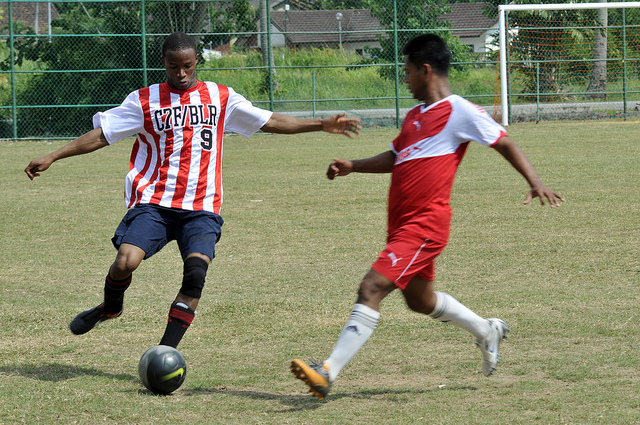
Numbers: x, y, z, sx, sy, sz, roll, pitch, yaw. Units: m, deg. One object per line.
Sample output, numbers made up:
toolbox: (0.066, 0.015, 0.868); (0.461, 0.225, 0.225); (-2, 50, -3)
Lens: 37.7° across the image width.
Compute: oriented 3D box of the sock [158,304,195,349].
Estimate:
sock: (-1.420, 1.120, 9.255); (0.335, 0.430, 0.126); (-1, 7, -5)

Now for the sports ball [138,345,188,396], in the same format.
sports ball: (-1.582, 1.547, 9.263); (0.553, 0.407, 0.499); (2, 6, 28)

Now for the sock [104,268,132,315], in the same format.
sock: (-2.089, 0.827, 9.653); (0.264, 0.483, 0.378); (-1, 7, -12)

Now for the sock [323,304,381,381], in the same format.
sock: (0.285, 1.230, 8.919); (0.499, 0.699, 0.168); (-4, 8, -32)
